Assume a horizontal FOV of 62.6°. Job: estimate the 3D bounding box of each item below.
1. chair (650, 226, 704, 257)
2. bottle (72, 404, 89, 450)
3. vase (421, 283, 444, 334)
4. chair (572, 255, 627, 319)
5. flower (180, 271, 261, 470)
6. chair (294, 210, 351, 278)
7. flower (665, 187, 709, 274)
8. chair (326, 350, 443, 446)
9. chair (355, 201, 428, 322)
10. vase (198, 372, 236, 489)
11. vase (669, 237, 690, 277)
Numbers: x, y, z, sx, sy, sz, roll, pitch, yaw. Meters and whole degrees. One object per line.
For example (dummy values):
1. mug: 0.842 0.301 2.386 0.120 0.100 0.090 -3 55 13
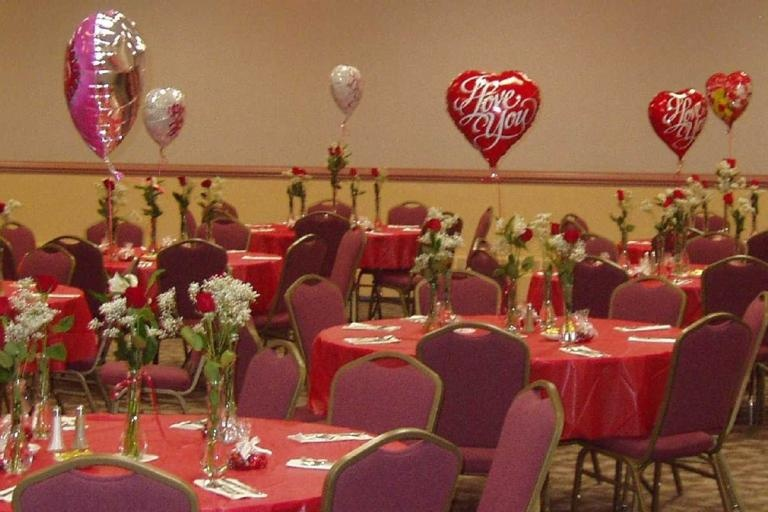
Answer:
1. chair: 2.832 -0.137 6.116 0.309 0.442 0.335 -4 -11 43
2. bottle: -1.117 0.630 2.345 0.050 0.177 0.310 4 -6 -24
3. vase: 0.300 0.332 3.860 0.161 0.436 0.170 1 -2 -3
4. chair: 1.659 0.251 4.895 0.314 0.634 0.357 8 15 24
5. flower: -0.559 0.458 2.180 0.271 0.670 0.260 1 -3 -6
6. chair: -0.657 -0.144 7.026 0.579 1.071 0.673 3 4 -4
7. flower: 2.564 -0.192 5.497 0.348 0.726 0.421 2 -5 -22
8. chair: 0.024 0.573 2.842 0.363 0.612 0.398 1 -2 22
9. chair: 0.043 0.185 7.455 0.566 1.131 0.620 0 4 3
10. vase: -0.564 0.583 2.151 0.088 0.350 0.165 3 -4 -14
11. vase: 2.595 0.016 5.569 0.125 0.349 0.120 -7 -19 45
